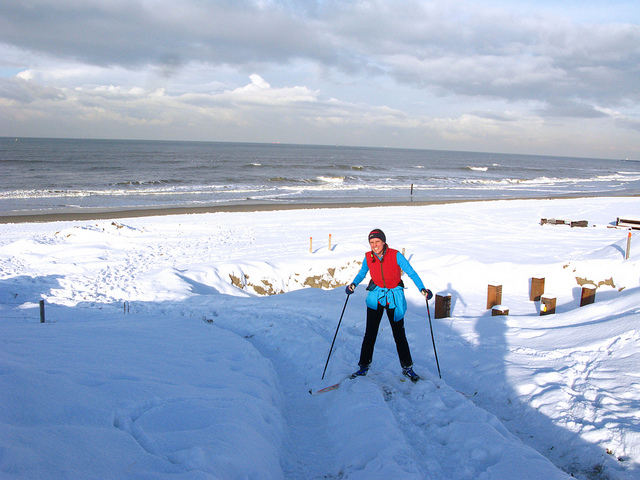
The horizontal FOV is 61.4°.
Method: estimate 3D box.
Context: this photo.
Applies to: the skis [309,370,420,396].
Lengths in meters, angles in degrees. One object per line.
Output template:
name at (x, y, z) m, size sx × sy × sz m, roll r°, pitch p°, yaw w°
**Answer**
skis at (0.836, 2.488, 9.408) m, size 1.649 × 0.176 × 0.194 m, roll -10°, pitch 2°, yaw -2°
